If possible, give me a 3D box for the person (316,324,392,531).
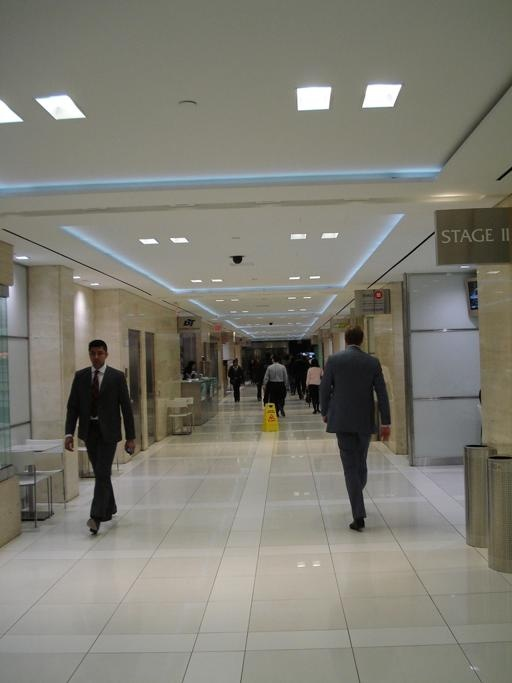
[{"bbox_3d":[0.930,0.816,4.613,0.615,1.940,0.368,-2,-4,8],"label":"person"}]

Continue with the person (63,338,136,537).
[{"bbox_3d":[-1.604,0.954,4.993,0.758,1.955,0.720,-1,-4,-6],"label":"person"}]

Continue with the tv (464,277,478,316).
[{"bbox_3d":[3.548,-0.744,7.992,0.144,0.624,0.180,-3,-5,15],"label":"tv"}]
